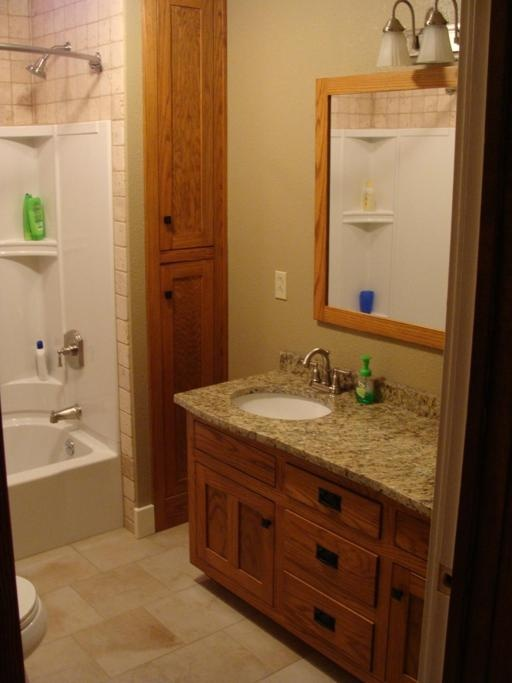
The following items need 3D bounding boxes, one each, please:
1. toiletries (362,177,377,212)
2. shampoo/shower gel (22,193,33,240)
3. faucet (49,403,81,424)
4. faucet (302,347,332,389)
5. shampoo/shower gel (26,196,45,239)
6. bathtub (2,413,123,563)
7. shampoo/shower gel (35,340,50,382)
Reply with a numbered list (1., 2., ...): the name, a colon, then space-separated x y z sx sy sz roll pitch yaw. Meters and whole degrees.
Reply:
1. toiletries: 0.467 -0.604 2.293 0.018 0.128 0.075 -7 14 -31
2. shampoo/shower gel: -1.388 -0.759 3.358 0.057 0.267 0.119 -4 13 -22
3. faucet: -1.122 0.425 3.263 0.146 0.119 0.075 -8 -9 -20
4. faucet: 0.274 0.114 2.393 0.110 0.187 0.282 2 13 8
5. shampoo/shower gel: -1.338 -0.739 3.333 0.115 0.245 0.066 -5 4 -20
6. bathtub: -1.143 0.778 3.128 0.579 0.497 0.648 -9 16 -35
7. shampoo/shower gel: -1.361 0.110 3.515 0.067 0.249 0.130 -5 13 -25
